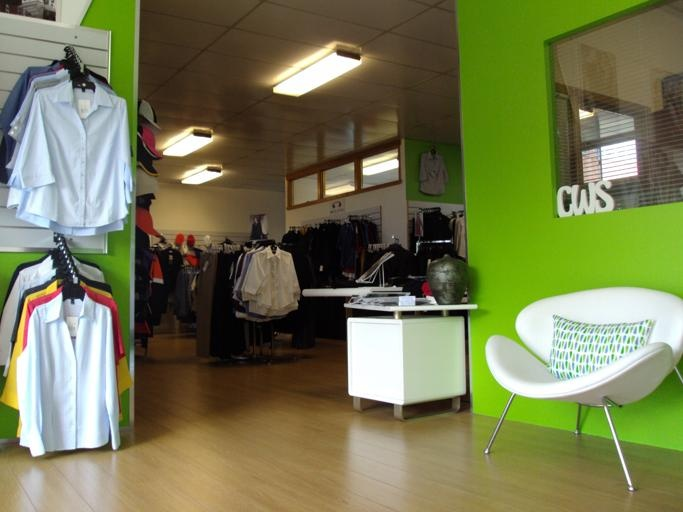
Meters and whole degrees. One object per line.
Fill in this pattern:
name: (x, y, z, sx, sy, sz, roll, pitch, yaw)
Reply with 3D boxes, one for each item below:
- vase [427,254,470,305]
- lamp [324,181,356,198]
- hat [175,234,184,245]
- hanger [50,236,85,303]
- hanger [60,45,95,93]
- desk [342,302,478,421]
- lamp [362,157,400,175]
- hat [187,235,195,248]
vase: (0.833, 0.176, 4.284, 0.318, 0.380, 0.326, -4, 4, -21)
lamp: (-0.055, -1.300, 10.506, 0.108, 0.313, 0.988, 1, -2, -37)
hat: (-3.370, -0.357, 11.363, 0.164, 0.269, 0.722, 0, -1, -17)
hanger: (-1.794, 0.065, 3.560, 0.272, 0.424, 0.132, -2, -2, 42)
hanger: (-1.805, -1.285, 3.718, 0.265, 0.340, 0.149, -2, -2, 40)
desk: (0.554, 0.808, 4.466, 1.013, 0.874, 1.020, -3, -6, 24)
lamp: (0.689, -1.626, 9.748, 0.083, 0.314, 0.950, 1, -2, -36)
hat: (-3.090, -0.309, 11.298, 0.161, 0.214, 0.256, 4, 3, -19)
